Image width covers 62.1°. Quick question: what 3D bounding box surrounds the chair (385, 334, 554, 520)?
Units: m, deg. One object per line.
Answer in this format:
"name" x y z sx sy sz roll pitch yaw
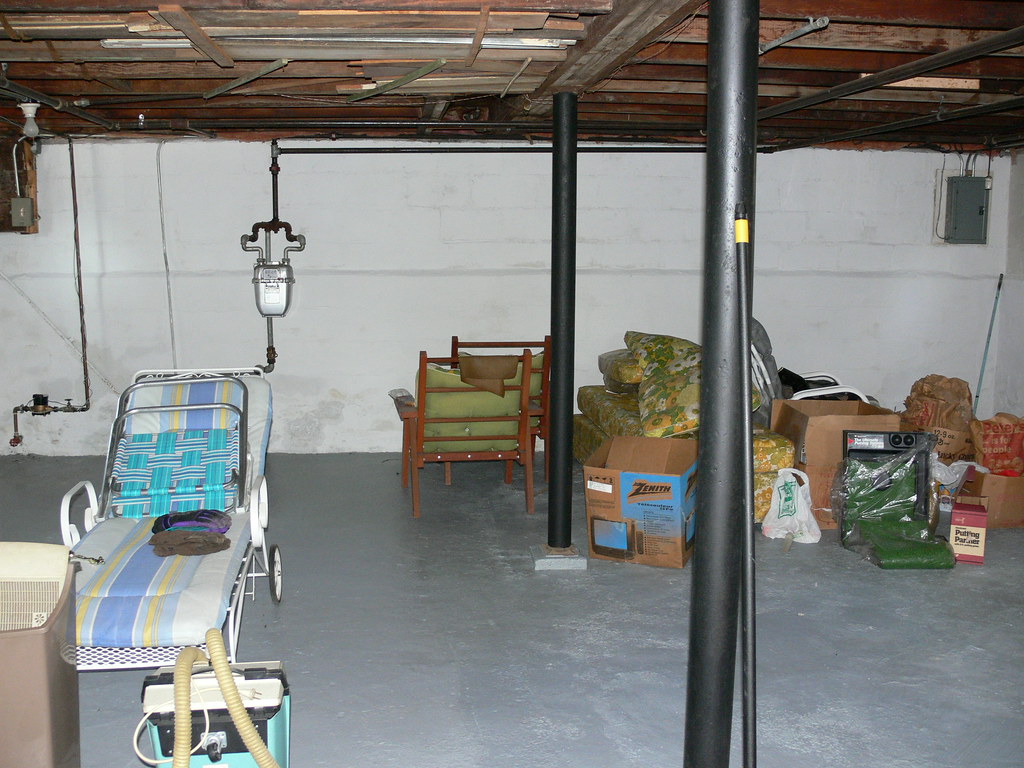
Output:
"chair" -0.314 0.259 6.744 1.156 1.354 1.444 -2 13 -6

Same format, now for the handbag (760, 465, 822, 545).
"handbag" 1.945 0.828 5.924 0.469 0.476 0.446 -1 2 34

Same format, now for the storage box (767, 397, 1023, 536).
"storage box" 2.682 0.492 6.046 1.238 0.690 1.172 1 -5 -5

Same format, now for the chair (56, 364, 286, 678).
"chair" -1.800 0.678 4.434 1.065 1.053 1.845 -1 24 -3

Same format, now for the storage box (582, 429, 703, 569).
"storage box" 0.852 0.815 5.669 0.604 0.682 0.784 5 3 25
